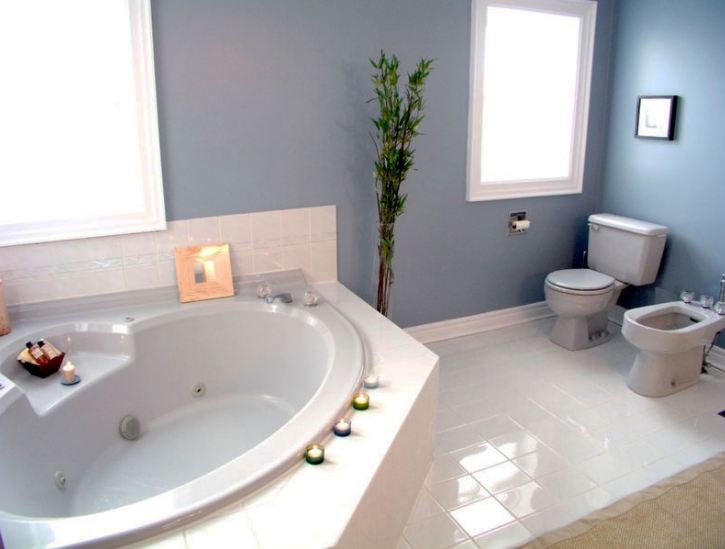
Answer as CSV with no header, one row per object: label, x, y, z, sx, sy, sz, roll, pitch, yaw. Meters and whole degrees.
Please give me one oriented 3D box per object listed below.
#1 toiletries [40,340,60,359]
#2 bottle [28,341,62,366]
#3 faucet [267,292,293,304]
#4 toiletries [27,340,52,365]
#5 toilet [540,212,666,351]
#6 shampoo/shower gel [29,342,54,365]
toiletries,-1.530,0.370,2.320,0.076,0.031,0.102,-35,78,-28
bottle,-1.545,0.384,2.303,0.084,0.054,0.144,-21,36,-38
faucet,-0.484,0.132,2.804,0.116,0.042,0.072,-2,10,-23
toiletries,-1.565,0.390,2.295,0.109,0.070,0.067,17,28,42
toilet,1.795,0.070,3.593,0.848,0.899,0.510,-15,23,-28
shampoo/shower gel,-1.562,0.390,2.299,0.029,0.038,0.110,-38,48,-23
